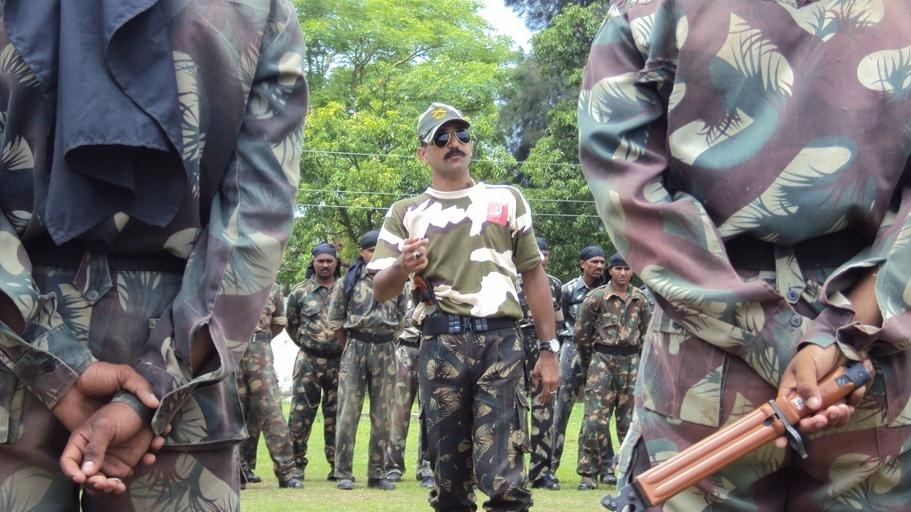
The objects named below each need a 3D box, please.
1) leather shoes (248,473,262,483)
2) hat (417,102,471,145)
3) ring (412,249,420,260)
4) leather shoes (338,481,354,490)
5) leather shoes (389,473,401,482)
[{"bbox_3d":[-2.026,2.279,9.864,0.074,0.074,0.123,0,-15,5],"label":"leather shoes"},{"bbox_3d":[-0.078,-0.915,6.507,0.325,0.234,0.395,-22,3,16],"label":"hat"},{"bbox_3d":[-0.242,0.007,5.729,0.032,0.044,0.018,8,4,8],"label":"ring"},{"bbox_3d":[-1.062,2.206,9.361,0.155,0.109,0.261,3,-13,-6],"label":"leather shoes"},{"bbox_3d":[-0.642,2.317,10.104,0.090,0.047,0.133,1,-7,0],"label":"leather shoes"}]
